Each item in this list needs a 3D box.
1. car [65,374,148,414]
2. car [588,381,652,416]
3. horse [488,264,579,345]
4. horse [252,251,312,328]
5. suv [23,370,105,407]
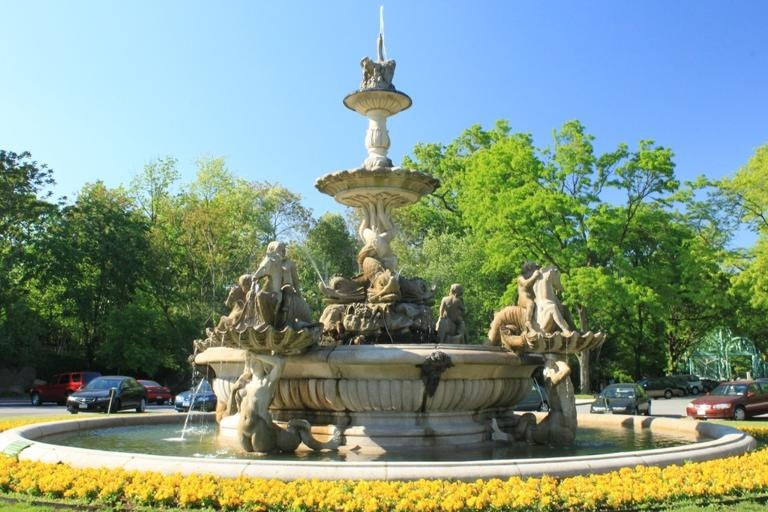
[{"bbox_3d":[-11.572,5.775,30.861,2.916,1.397,2.163,2,-5,-17],"label":"car"},{"bbox_3d":[10.140,5.921,31.374,1.605,1.009,3.077,-10,-28,24],"label":"car"},{"bbox_3d":[3.261,1.032,16.871,2.098,1.685,1.008,-11,-9,31],"label":"horse"},{"bbox_3d":[-2.179,0.643,15.405,1.552,1.814,0.863,7,-21,-40],"label":"horse"},{"bbox_3d":[-16.326,6.724,36.972,4.023,1.841,1.954,-1,-9,21],"label":"suv"}]
